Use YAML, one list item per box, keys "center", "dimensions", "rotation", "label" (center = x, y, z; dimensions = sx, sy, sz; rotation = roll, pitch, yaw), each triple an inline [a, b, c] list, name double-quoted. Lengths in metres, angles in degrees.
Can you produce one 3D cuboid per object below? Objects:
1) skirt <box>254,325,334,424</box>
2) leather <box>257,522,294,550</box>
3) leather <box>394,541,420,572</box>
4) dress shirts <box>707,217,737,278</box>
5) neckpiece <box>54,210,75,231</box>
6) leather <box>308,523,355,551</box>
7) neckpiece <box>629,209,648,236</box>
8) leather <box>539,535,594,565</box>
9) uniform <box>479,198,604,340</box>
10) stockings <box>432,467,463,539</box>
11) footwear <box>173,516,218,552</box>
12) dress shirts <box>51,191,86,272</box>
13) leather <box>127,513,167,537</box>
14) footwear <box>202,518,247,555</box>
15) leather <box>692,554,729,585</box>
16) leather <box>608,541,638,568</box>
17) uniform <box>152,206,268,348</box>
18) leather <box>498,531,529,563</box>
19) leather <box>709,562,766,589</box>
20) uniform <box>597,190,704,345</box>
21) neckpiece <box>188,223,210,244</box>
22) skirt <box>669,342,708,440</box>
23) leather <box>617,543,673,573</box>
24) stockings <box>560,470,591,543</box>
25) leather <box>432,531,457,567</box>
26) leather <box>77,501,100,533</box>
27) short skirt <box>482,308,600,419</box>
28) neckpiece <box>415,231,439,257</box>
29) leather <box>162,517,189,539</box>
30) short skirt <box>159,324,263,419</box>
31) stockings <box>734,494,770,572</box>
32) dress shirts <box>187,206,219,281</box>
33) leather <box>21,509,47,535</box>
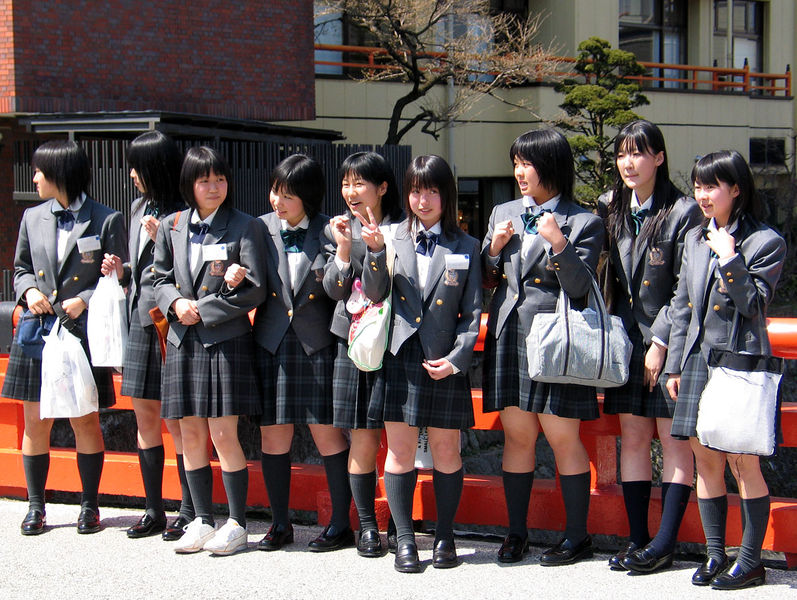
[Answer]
- center: [-0.609, 0.460, 5.060]
  dimensions: [0.481, 0.735, 0.269]
  rotation: [0, -10, -5]
  label: "skirt"
- center: [-0.745, 1.450, 5.148]
  dimensions: [0.088, 0.114, 0.248]
  rotation: [-3, -7, 30]
  label: "leather"
- center: [0.051, 1.459, 4.764]
  dimensions: [0.151, 0.133, 0.118]
  rotation: [-2, 7, 0]
  label: "leather"
- center: [1.715, -0.295, 4.467]
  dimensions: [0.055, 0.209, 0.152]
  rotation: [6, -6, -28]
  label: "dress shirts"
- center: [-2.182, -0.515, 5.526]
  dimensions: [0.115, 0.134, 0.038]
  rotation: [3, -2, 17]
  label: "neckpiece"
- center: [-0.396, 1.439, 5.118]
  dimensions: [0.110, 0.132, 0.314]
  rotation: [-10, -10, 37]
  label: "leather"
- center: [1.376, -0.445, 4.857]
  dimensions: [0.045, 0.136, 0.087]
  rotation: [9, -10, -39]
  label: "neckpiece"
- center: [0.955, 1.441, 4.855]
  dimensions: [0.317, 0.140, 0.126]
  rotation: [-4, -3, -31]
  label: "leather"
- center: [0.825, -0.157, 4.796]
  dimensions: [0.584, 0.797, 0.422]
  rotation: [12, -1, 38]
  label: "uniform"
- center: [0.288, 1.178, 4.939]
  dimensions: [0.164, 0.391, 0.246]
  rotation: [-2, 7, 2]
  label: "stockings"
- center: [-1.206, 1.417, 5.098]
  dimensions: [0.115, 0.151, 0.305]
  rotation: [8, 14, 26]
  label: "footwear"
- center: [-2.180, -0.462, 5.590]
  dimensions: [0.210, 0.447, 0.097]
  rotation: [6, -1, 2]
  label: "dress shirts"
- center: [-1.585, 1.429, 5.406]
  dimensions: [0.103, 0.126, 0.290]
  rotation: [-5, -5, 36]
  label: "leather"
- center: [-1.016, 1.419, 5.046]
  dimensions: [0.133, 0.191, 0.302]
  rotation: [6, 6, 33]
  label: "footwear"
- center: [1.693, 1.439, 4.567]
  dimensions: [0.262, 0.104, 0.091]
  rotation: [-36, 7, -32]
  label: "leather"
- center: [1.258, 1.437, 4.734]
  dimensions: [0.083, 0.100, 0.206]
  rotation: [4, -5, 36]
  label: "leather"
- center: [-1.127, -0.115, 5.099]
  dimensions: [0.722, 0.932, 0.504]
  rotation: [3, 1, 16]
  label: "uniform"
- center: [0.661, 1.441, 4.897]
  dimensions: [0.084, 0.100, 0.237]
  rotation: [3, -4, 22]
  label: "leather"
- center: [1.796, 1.471, 4.517]
  dimensions: [0.306, 0.127, 0.121]
  rotation: [1, -8, -19]
  label: "leather"
- center: [1.389, -0.209, 4.746]
  dimensions: [0.587, 0.781, 0.184]
  rotation: [8, 8, 38]
  label: "uniform"
- center: [-1.225, -0.407, 5.166]
  dimensions: [0.116, 0.133, 0.044]
  rotation: [12, 11, 21]
  label: "neckpiece"
- center: [1.572, 0.473, 4.589]
  dimensions: [0.136, 0.514, 0.111]
  rotation: [6, 17, 6]
  label: "skirt"
- center: [1.357, 1.410, 4.677]
  dimensions: [0.297, 0.134, 0.130]
  rotation: [-1, 3, -20]
  label: "leather"
- center: [1.022, 1.184, 4.852]
  dimensions: [0.179, 0.404, 0.111]
  rotation: [-4, 7, -17]
  label: "stockings"
- center: [0.264, 1.438, 4.820]
  dimensions: [0.142, 0.156, 0.133]
  rotation: [-2, 7, 3]
  label: "leather"
- center: [-1.980, 1.415, 5.402]
  dimensions: [0.084, 0.095, 0.223]
  rotation: [1, 1, -10]
  label: "leather"
- center: [0.816, 0.363, 4.709]
  dimensions: [0.537, 0.570, 0.217]
  rotation: [3, 4, 30]
  label: "short skirt"
- center: [0.160, -0.330, 5.012]
  dimensions: [0.125, 0.147, 0.045]
  rotation: [8, 5, 5]
  label: "neckpiece"
- center: [-1.387, 1.434, 5.301]
  dimensions: [0.077, 0.094, 0.221]
  rotation: [-1, -5, 14]
  label: "leather"
- center: [-1.081, 0.431, 5.264]
  dimensions: [0.657, 0.877, 0.461]
  rotation: [-2, -8, 12]
  label: "short skirt"
- center: [1.900, 1.235, 4.537]
  dimensions: [0.148, 0.370, 0.230]
  rotation: [2, 8, 27]
  label: "stockings"
- center: [-1.213, -0.361, 5.169]
  dimensions: [0.081, 0.381, 0.193]
  rotation: [6, 1, -31]
  label: "dress shirts"
- center: [-2.341, 1.436, 5.409]
  dimensions: [0.082, 0.099, 0.211]
  rotation: [1, -4, -10]
  label: "leather"
